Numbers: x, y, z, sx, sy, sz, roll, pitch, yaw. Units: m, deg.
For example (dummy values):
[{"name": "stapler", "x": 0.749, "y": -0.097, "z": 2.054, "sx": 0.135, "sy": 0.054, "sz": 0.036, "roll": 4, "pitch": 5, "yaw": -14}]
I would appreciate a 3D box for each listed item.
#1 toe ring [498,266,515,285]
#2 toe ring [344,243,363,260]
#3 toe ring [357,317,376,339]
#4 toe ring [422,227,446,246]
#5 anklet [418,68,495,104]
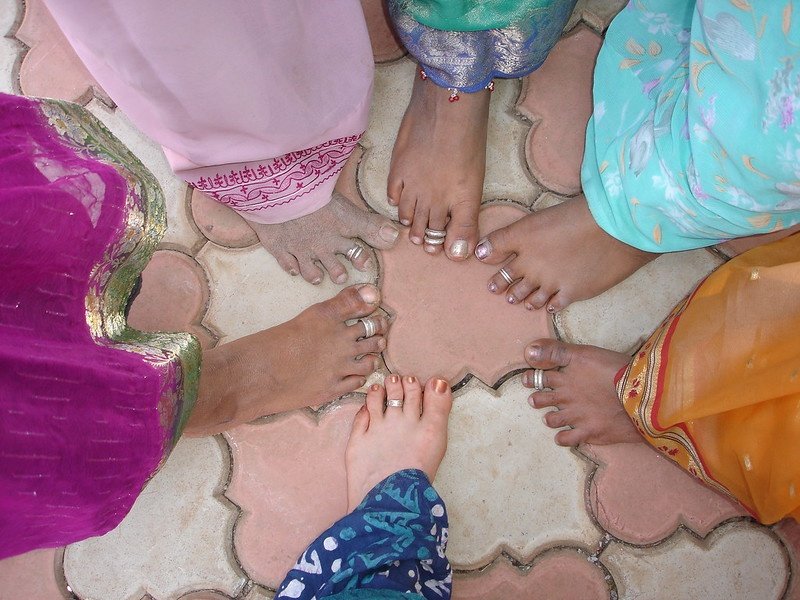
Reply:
[{"name": "toe ring", "x": 0.203, "y": -0.047, "z": 1.551, "sx": 0.006, "sy": 0.027, "sz": 0.027, "roll": -28, "pitch": 76, "yaw": -13}, {"name": "toe ring", "x": -0.091, "y": -0.094, "z": 1.557, "sx": 0.028, "sy": 0.030, "sz": 0.030, "roll": 2, "pitch": 101, "yaw": 8}, {"name": "toe ring", "x": -0.065, "y": 0.054, "z": 1.564, "sx": 0.013, "sy": 0.037, "sz": 0.027, "roll": -30, "pitch": 61, "yaw": -30}, {"name": "toe ring", "x": 0.065, "y": -0.122, "z": 1.569, "sx": 0.041, "sy": 0.025, "sz": 0.027, "roll": 3, "pitch": 80, "yaw": 1}, {"name": "anklet", "x": 0.122, "y": -0.426, "z": 1.470, "sx": 0.076, "sy": 0.115, "sz": 0.033, "roll": 5, "pitch": 39, "yaw": -4}]
